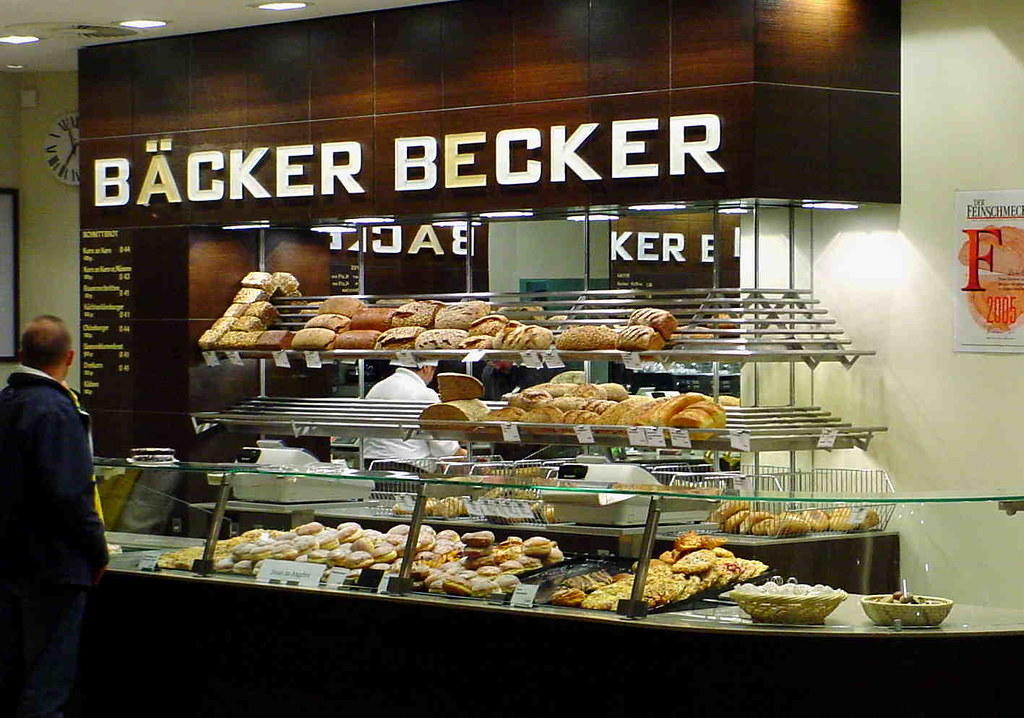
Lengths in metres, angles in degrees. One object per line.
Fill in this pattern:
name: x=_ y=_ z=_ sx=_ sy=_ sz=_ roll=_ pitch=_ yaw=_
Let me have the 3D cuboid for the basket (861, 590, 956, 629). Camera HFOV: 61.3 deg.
basket: x=1.350 y=0.860 z=2.952 sx=0.187 sy=0.052 sz=0.166 roll=1 pitch=-2 yaw=-20

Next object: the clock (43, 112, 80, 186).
clock: x=-4.440 y=-2.065 z=8.550 sx=0.357 sy=0.706 sz=0.133 roll=2 pitch=-5 yaw=18

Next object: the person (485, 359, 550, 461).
person: x=-0.007 y=0.376 z=6.442 sx=0.769 sy=0.607 sz=0.270 roll=-2 pitch=-7 yaw=43
